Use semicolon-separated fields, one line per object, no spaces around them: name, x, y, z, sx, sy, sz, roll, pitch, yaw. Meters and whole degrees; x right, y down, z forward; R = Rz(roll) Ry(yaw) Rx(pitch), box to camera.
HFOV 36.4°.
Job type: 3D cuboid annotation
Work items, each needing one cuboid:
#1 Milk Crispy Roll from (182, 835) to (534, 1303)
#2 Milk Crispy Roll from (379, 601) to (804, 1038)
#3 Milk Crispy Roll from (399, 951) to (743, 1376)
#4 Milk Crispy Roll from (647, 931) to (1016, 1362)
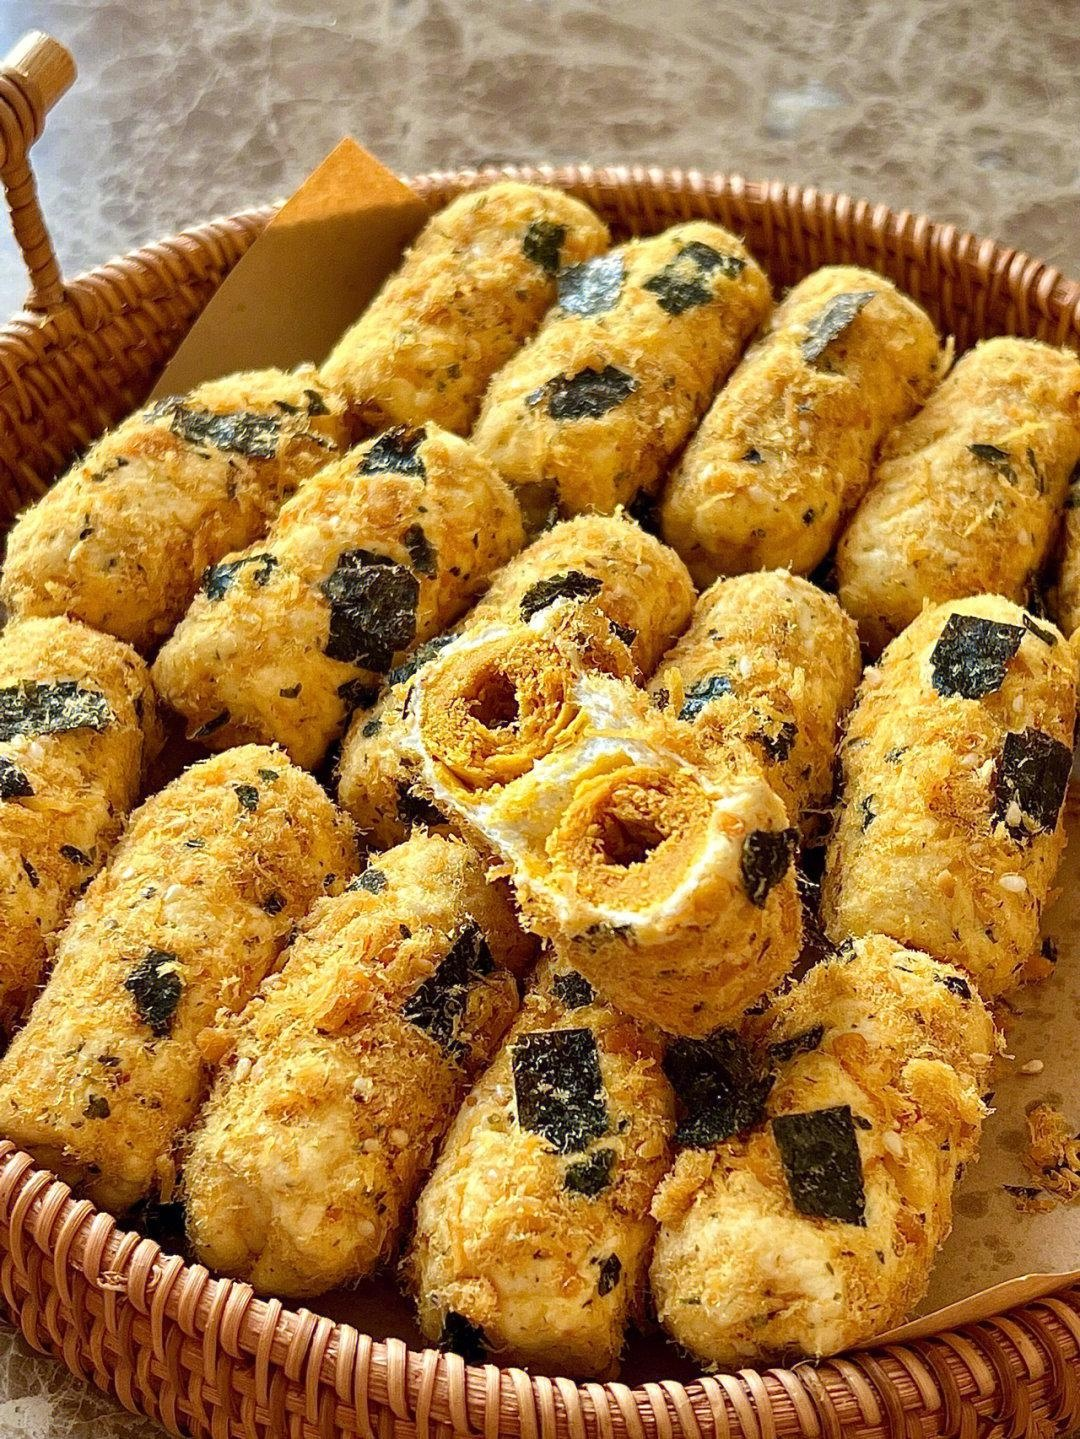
Milk Crispy Roll;-0.121;0.237;1.207;0.175;0.142;0.345;31;51;4
Milk Crispy Roll;0.040;0.045;1.122;0.174;0.114;0.317;-45;60;-2
Milk Crispy Roll;0.004;0.297;1.107;0.147;0.096;0.262;13;46;8
Milk Crispy Roll;0.192;0.263;1.071;0.185;0.100;0.291;20;43;17
